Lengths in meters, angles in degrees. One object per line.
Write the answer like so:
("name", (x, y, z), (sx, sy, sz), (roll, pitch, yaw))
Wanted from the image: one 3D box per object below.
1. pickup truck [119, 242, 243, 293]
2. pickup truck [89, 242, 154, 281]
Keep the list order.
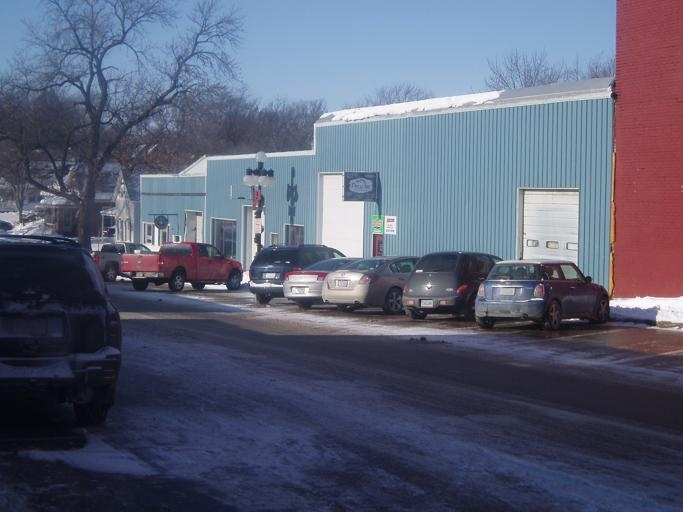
("pickup truck", (-5.989, 0.465, 31.839), (1.953, 1.501, 4.118), (1, 3, 42))
("pickup truck", (-9.488, -0.066, 38.976), (3.758, 1.430, 1.660), (-3, 22, -4))
